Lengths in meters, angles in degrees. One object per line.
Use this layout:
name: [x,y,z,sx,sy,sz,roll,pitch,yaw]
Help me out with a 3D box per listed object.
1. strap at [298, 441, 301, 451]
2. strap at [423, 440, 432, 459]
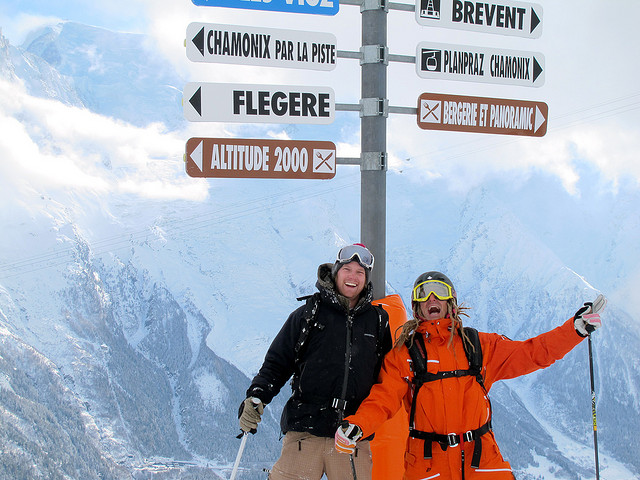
strap: [-0.729,7.429,29.753,0.099,0.317,0.014,-5,-3,7]
strap: [3.894,7.496,29.573,0.313,0.461,0.033,-5,-3,1]
